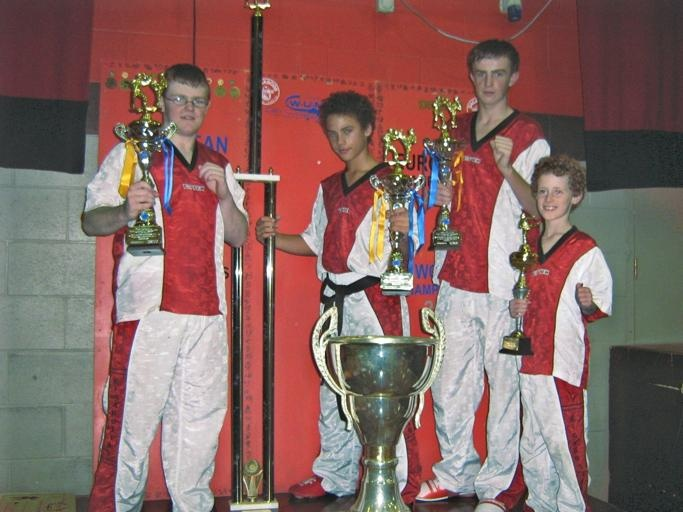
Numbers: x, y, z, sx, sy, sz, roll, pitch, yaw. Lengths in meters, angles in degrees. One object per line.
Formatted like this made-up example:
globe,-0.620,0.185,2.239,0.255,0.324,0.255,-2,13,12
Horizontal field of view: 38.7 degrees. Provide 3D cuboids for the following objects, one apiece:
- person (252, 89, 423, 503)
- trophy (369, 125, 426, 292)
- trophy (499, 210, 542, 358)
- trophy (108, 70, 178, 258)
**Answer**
person,0.040,0.041,4.894,0.693,2.224,0.688,1,6,-28
trophy,0.258,-0.206,4.595,0.225,0.829,0.270,2,7,-6
trophy,0.821,0.142,4.636,0.197,0.657,0.202,2,5,-3
trophy,-0.894,-0.443,4.319,0.241,0.899,0.267,0,6,-24
